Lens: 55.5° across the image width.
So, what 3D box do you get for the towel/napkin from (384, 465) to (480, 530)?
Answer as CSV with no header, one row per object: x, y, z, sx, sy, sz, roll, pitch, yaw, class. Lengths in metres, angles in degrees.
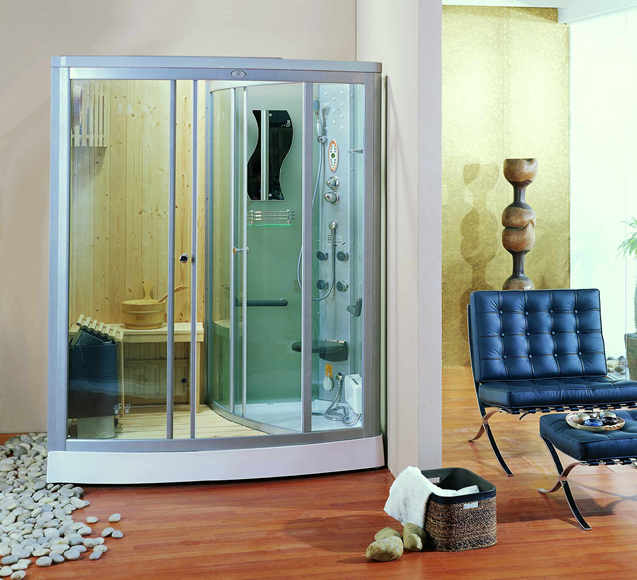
0.490,0.896,2.688,0.312,0.125,0.293,5,-1,-17,towel/napkin

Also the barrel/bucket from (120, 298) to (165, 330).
-0.961,0.123,3.295,0.182,0.107,0.186,1,1,0,barrel/bucket

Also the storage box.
0.600,0.964,2.712,0.321,0.255,0.355,0,5,-6,storage box

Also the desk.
-1.030,0.427,3.300,0.562,0.322,0.192,0,-3,-12,desk

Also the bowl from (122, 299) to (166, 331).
-0.961,0.133,3.294,0.189,0.107,0.178,1,1,0,bowl
